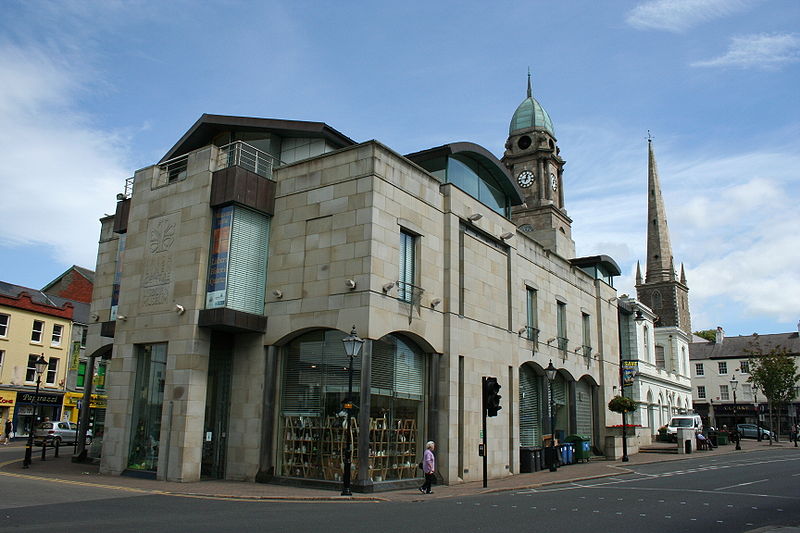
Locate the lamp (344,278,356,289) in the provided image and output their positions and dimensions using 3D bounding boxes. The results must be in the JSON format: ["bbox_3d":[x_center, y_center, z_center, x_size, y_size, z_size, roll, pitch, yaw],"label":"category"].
[{"bbox_3d":[-2.206,0.771,30.253,0.500,0.446,0.321,-8,-22,18],"label":"lamp"}]

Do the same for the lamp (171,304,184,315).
[{"bbox_3d":[-10.538,2.038,31.861,0.414,0.387,0.278,10,-28,21],"label":"lamp"}]

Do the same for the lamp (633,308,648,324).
[{"bbox_3d":[22.917,4.727,63.988,1.709,1.442,1.672,4,-3,-17],"label":"lamp"}]

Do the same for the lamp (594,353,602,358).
[{"bbox_3d":[14.163,6.408,47.985,0.448,0.511,0.109,14,-26,-33],"label":"lamp"}]

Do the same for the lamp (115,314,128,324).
[{"bbox_3d":[-14.065,2.665,33.955,0.492,0.216,0.674,2,-3,-13],"label":"lamp"}]

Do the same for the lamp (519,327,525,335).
[{"bbox_3d":[7.125,3.772,39.264,0.193,0.434,0.449,8,-3,45],"label":"lamp"}]

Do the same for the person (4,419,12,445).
[{"bbox_3d":[-29.960,12.537,51.293,0.517,1.642,1.315,10,-24,-27],"label":"person"}]

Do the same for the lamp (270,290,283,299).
[{"bbox_3d":[-5.838,1.365,31.996,0.602,0.438,0.251,-11,-23,24],"label":"lamp"}]

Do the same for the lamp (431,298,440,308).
[{"bbox_3d":[1.809,1.842,33.050,0.200,0.554,0.716,-18,-26,36],"label":"lamp"}]

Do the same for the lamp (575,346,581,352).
[{"bbox_3d":[12.167,5.622,45.594,0.302,0.410,0.110,13,2,-43],"label":"lamp"}]
